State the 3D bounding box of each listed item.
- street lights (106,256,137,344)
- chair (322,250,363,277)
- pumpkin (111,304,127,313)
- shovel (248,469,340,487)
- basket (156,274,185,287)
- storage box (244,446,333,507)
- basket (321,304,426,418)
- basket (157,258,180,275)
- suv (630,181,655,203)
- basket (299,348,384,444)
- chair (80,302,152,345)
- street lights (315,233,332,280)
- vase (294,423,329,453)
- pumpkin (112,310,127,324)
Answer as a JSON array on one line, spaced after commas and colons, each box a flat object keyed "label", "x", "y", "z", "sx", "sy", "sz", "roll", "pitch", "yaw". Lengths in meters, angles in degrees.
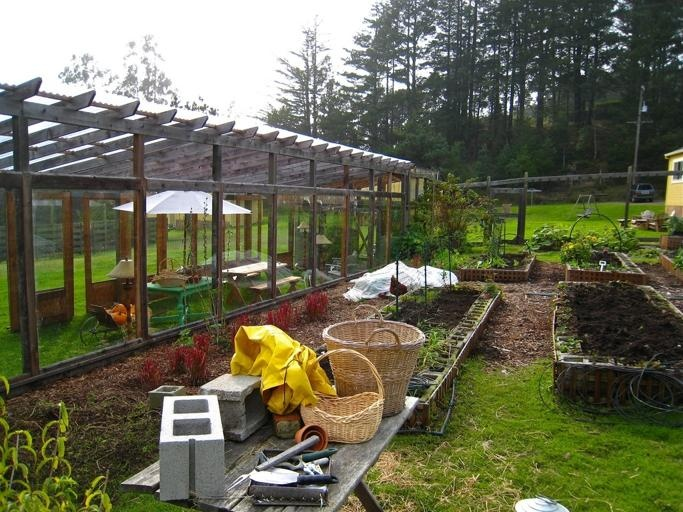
[{"label": "street lights", "x": -3.056, "y": 0.573, "z": 7.247, "sx": 0.331, "sy": 0.947, "sz": 0.399, "roll": 0, "pitch": 12, "yaw": -25}, {"label": "chair", "x": 0.082, "y": 0.223, "z": 13.501, "sx": 0.833, "sy": 0.808, "sz": 0.591, "roll": 1, "pitch": 2, "yaw": 6}, {"label": "pumpkin", "x": -3.079, "y": 0.724, "z": 7.226, "sx": 0.108, "sy": 0.139, "sz": 0.069, "roll": -7, "pitch": -7, "yaw": 15}, {"label": "shovel", "x": -0.236, "y": 1.270, "z": 3.003, "sx": 0.593, "sy": 0.072, "sz": 0.160, "roll": 0, "pitch": -1, "yaw": 0}, {"label": "basket", "x": -2.631, "y": 0.385, "z": 8.008, "sx": 0.249, "sy": 0.088, "sz": 0.243, "roll": -3, "pitch": 4, "yaw": 3}, {"label": "storage box", "x": -0.280, "y": 1.281, "z": 3.062, "sx": 0.500, "sy": 0.152, "sz": 0.364, "roll": 2, "pitch": 10, "yaw": 0}, {"label": "basket", "x": 0.248, "y": 0.755, "z": 4.176, "sx": 0.783, "sy": 0.674, "sz": 0.807, "roll": 0, "pitch": 6, "yaw": -14}, {"label": "basket", "x": -3.082, "y": 0.179, "z": 9.356, "sx": 0.345, "sy": 0.197, "sz": 0.339, "roll": 0, "pitch": -1, "yaw": 13}, {"label": "suv", "x": 20.947, "y": -4.389, "z": 36.546, "sx": 1.240, "sy": 1.031, "sz": 2.096, "roll": 1, "pitch": 14, "yaw": 17}, {"label": "basket", "x": 0.057, "y": 0.906, "z": 3.638, "sx": 0.560, "sy": 0.601, "sz": 0.496, "roll": 3, "pitch": 5, "yaw": 22}, {"label": "chair", "x": -3.016, "y": 0.931, "z": 6.987, "sx": 0.639, "sy": 0.435, "sz": 0.617, "roll": 10, "pitch": 8, "yaw": 37}, {"label": "street lights", "x": -0.448, "y": -0.008, "z": 12.397, "sx": 0.141, "sy": 1.069, "sz": 0.826, "roll": 6, "pitch": 12, "yaw": 17}, {"label": "vase", "x": -0.194, "y": 1.167, "z": 3.404, "sx": 0.160, "sy": 0.148, "sz": 0.114, "roll": -22, "pitch": 12, "yaw": -28}, {"label": "pumpkin", "x": -3.040, "y": 0.854, "z": 7.183, "sx": 0.193, "sy": 0.156, "sz": 0.153, "roll": -11, "pitch": 45, "yaw": -2}]
